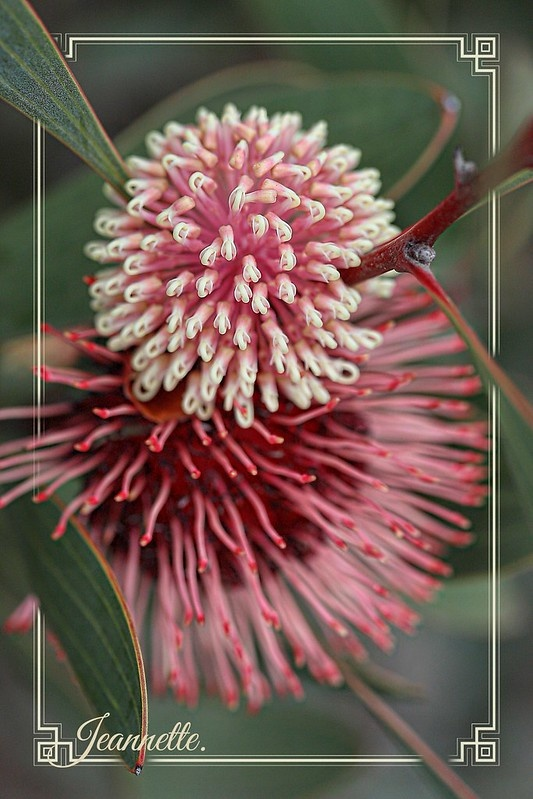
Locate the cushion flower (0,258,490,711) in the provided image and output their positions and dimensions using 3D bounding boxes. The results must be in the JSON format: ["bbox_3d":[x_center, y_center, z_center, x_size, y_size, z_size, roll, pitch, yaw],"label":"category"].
[{"bbox_3d":[0.004,0.108,0.641,0.401,0.345,0.185,-13,3,-3],"label":"cushion flower"}]
